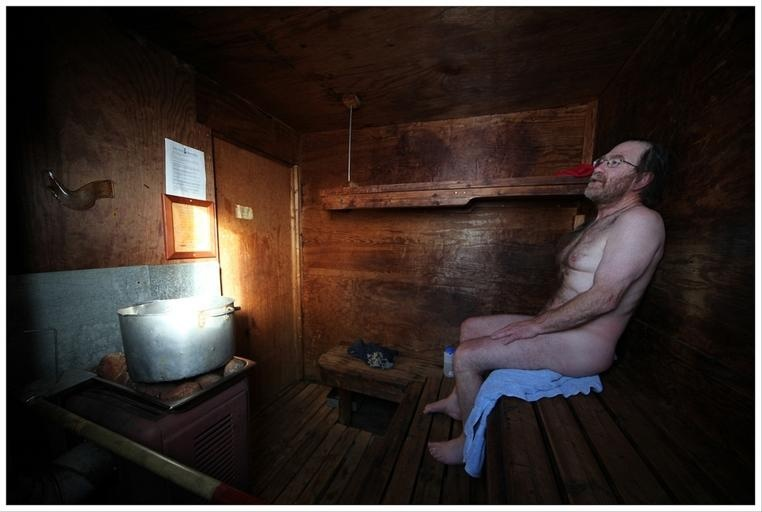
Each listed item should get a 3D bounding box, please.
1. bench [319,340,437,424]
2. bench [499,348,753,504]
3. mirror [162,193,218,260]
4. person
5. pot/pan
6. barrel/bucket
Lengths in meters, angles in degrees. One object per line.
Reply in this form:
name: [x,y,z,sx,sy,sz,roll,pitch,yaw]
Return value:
bench: [0.038,1.152,4.187,1.158,0.495,0.521,7,22,26]
bench: [1.331,0.967,2.680,1.253,0.652,0.702,1,6,15]
mirror: [-1.382,-0.202,3.445,0.042,0.455,0.421,4,7,30]
person: [1.124,0.308,3.250,1.533,2.074,1.001,-2,8,4]
pot/pan: [-1.228,0.511,2.960,0.554,0.367,0.628,-6,-10,7]
barrel/bucket: [-1.216,0.516,2.986,0.552,0.365,0.624,-5,-10,11]
